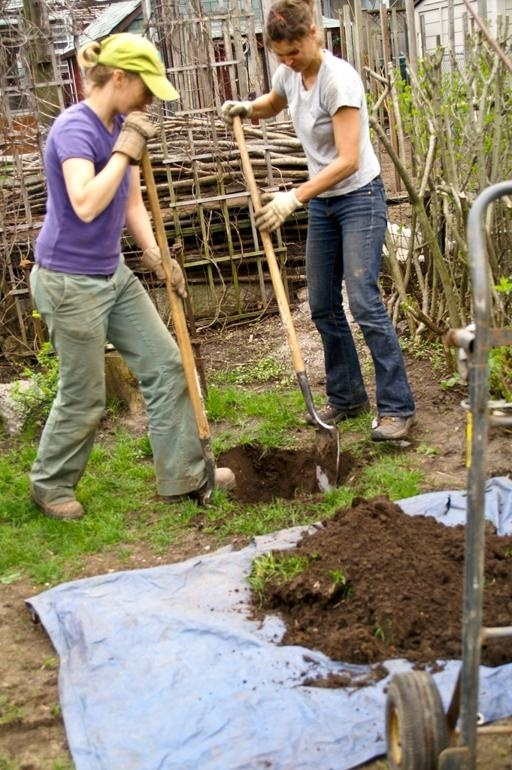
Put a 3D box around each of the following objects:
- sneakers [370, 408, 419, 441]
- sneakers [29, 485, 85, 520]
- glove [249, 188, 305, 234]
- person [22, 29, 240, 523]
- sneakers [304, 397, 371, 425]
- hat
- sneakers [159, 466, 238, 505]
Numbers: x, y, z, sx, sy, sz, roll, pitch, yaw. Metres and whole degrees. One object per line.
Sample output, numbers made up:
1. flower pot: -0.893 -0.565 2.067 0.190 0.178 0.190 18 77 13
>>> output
1. sneakers: 0.715 0.220 3.801 0.294 0.114 0.104 -4 -12 -46
2. sneakers: -1.018 0.566 3.667 0.320 0.118 0.123 12 19 40
3. glove: 0.109 -0.840 3.501 0.274 0.179 0.170 -4 11 22
4. person: -0.632 -0.377 3.261 0.776 2.082 1.047 -17 13 -35
5. sneakers: 0.484 0.164 4.205 0.431 0.180 0.137 -9 11 -8
6. hat: -0.484 -1.275 2.861 0.416 0.190 0.240 8 24 -23
7. sneakers: -0.288 0.501 3.772 0.153 0.177 0.441 2 4 42
